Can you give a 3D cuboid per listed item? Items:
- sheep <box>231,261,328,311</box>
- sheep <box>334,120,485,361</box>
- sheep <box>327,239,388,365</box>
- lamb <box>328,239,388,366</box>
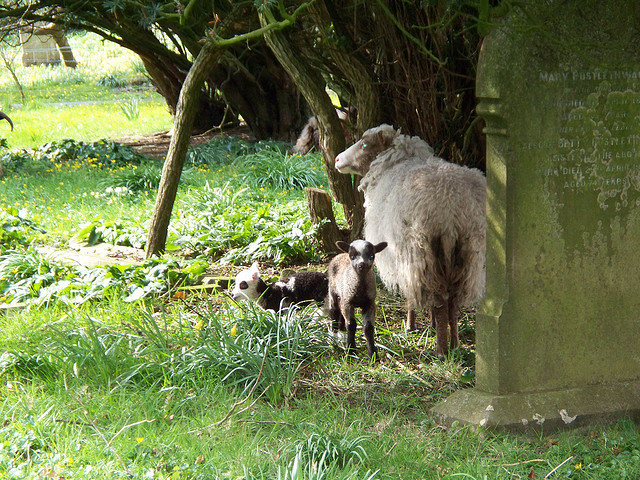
[{"bbox_3d":[-0.316,0.408,6.188,0.625,0.463,0.673,2,15,32],"label":"sheep"},{"bbox_3d":[0.807,-0.033,5.823,0.692,1.717,1.280,-6,13,-19],"label":"sheep"},{"bbox_3d":[0.265,0.428,5.723,0.337,0.903,1.086,-2,4,-6],"label":"sheep"},{"bbox_3d":[0.238,0.436,5.592,0.527,0.911,0.582,-3,14,-13],"label":"lamb"}]
